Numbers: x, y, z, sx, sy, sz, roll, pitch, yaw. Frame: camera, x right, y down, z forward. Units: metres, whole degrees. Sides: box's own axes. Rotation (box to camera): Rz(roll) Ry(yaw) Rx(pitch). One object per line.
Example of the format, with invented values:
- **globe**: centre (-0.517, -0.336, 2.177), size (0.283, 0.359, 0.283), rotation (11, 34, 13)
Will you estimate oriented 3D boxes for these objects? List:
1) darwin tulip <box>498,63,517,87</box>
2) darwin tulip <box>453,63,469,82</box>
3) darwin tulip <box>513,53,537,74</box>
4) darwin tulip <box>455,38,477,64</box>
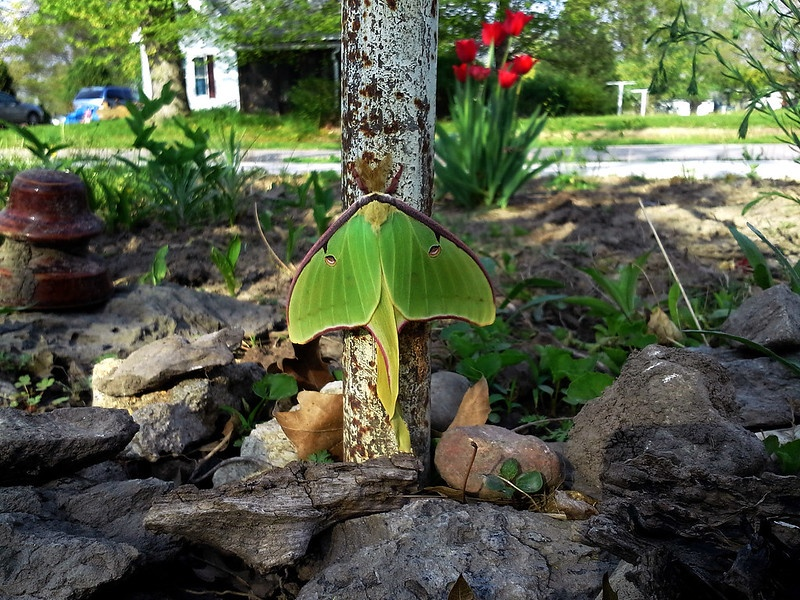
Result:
- **darwin tulip**: centre (0.717, -1.477, 6.015), size (0.111, 0.111, 0.129), rotation (-7, 22, -22)
- **darwin tulip**: centre (0.410, -1.549, 6.299), size (0.141, 0.144, 0.150), rotation (2, 22, 11)
- **darwin tulip**: centre (0.804, -1.505, 5.814), size (0.118, 0.095, 0.123), rotation (18, -18, -1)
- **darwin tulip**: centre (0.451, -1.607, 5.965), size (0.156, 0.184, 0.162), rotation (-6, 10, -27)
